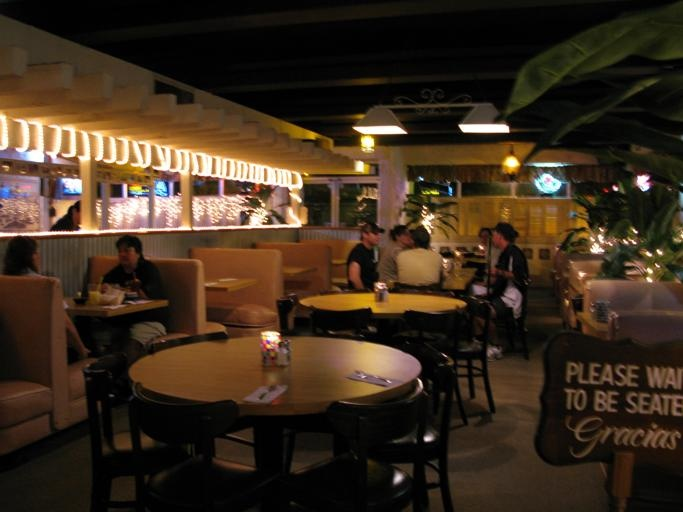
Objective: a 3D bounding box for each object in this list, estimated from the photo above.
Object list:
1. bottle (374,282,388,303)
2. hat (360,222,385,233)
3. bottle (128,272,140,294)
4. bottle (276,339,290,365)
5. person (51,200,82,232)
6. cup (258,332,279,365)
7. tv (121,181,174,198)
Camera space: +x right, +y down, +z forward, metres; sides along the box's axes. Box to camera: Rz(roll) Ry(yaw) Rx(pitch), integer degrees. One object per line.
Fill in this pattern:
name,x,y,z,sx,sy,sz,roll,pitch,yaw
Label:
bottle,0.335,0.309,5.031,0.166,0.157,0.121,-3,5,-10
hat,0.364,-0.320,6.790,0.265,0.081,0.171,2,1,-6
bottle,-1.736,0.227,4.940,0.068,0.177,0.143,-4,-1,-34
bottle,-0.290,0.486,2.978,0.056,0.114,0.097,2,6,10
person,-3.845,-0.540,8.229,0.342,0.380,1.395,-2,6,-26
cup,-0.361,0.466,3.031,0.099,0.148,0.200,0,6,-6
tv,-3.155,-1.108,9.722,0.338,0.286,1.169,2,6,17
